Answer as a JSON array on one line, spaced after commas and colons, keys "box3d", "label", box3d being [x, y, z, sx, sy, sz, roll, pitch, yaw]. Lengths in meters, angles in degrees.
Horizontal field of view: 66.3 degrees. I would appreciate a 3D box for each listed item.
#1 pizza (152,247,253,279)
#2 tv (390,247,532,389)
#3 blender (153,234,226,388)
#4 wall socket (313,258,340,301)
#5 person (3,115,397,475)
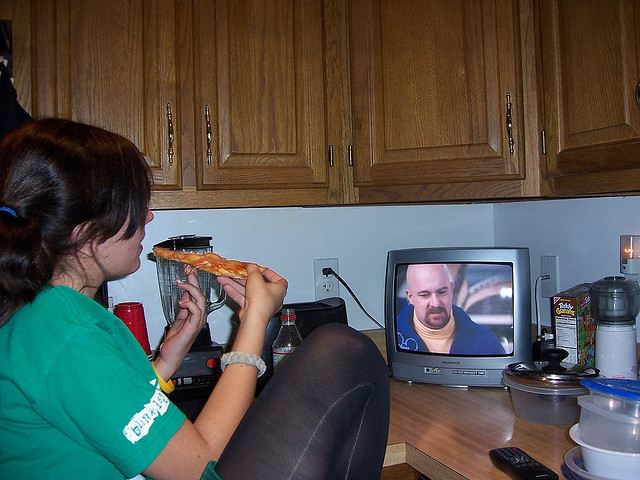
[{"box3d": [-0.283, 0.052, 1.208, 0.154, 0.019, 0.125, 17, -5, -3], "label": "pizza"}, {"box3d": [0.465, 0.214, 1.695, 0.466, 0.500, 0.286, 1, 19, 23], "label": "tv"}, {"box3d": [-0.451, 0.249, 1.623, 0.292, 0.496, 0.289, -3, -3, -2], "label": "blender"}, {"box3d": [0.029, 0.164, 1.926, 0.100, 0.186, 0.023, 2, -23, -5], "label": "wall socket"}, {"box3d": [-0.219, 0.099, 0.923, 0.693, 0.620, 0.579, 1, 2, 8], "label": "person"}]
